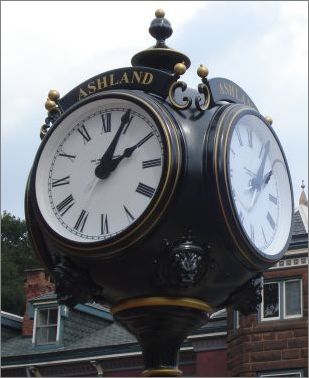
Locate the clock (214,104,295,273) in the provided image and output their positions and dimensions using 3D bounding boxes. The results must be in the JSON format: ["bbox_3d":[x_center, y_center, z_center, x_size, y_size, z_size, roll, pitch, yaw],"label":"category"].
[{"bbox_3d":[0.813,0.037,11.563,0.155,1.232,1.126,-15,-30,31],"label":"clock"}]

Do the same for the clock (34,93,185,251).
[{"bbox_3d":[-0.329,-0.108,11.391,1.260,1.331,0.253,-2,-14,27],"label":"clock"}]
